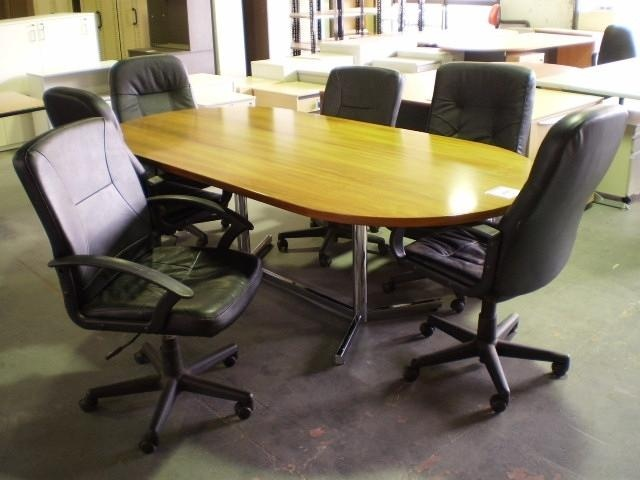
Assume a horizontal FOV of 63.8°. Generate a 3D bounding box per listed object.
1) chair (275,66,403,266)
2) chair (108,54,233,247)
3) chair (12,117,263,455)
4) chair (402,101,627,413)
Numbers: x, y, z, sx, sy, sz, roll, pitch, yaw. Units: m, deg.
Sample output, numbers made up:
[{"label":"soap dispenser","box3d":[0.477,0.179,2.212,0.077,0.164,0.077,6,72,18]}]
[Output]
[{"label":"chair","box3d":[0.109,-0.522,3.427,0.981,1.159,0.865,-4,25,6]},{"label":"chair","box3d":[-1.185,-0.743,3.752,0.819,1.033,0.677,-11,33,7]},{"label":"chair","box3d":[-0.675,0.154,2.171,0.857,1.207,0.851,6,27,10]},{"label":"chair","box3d":[0.785,0.058,2.190,0.699,1.266,0.582,19,33,31]}]
